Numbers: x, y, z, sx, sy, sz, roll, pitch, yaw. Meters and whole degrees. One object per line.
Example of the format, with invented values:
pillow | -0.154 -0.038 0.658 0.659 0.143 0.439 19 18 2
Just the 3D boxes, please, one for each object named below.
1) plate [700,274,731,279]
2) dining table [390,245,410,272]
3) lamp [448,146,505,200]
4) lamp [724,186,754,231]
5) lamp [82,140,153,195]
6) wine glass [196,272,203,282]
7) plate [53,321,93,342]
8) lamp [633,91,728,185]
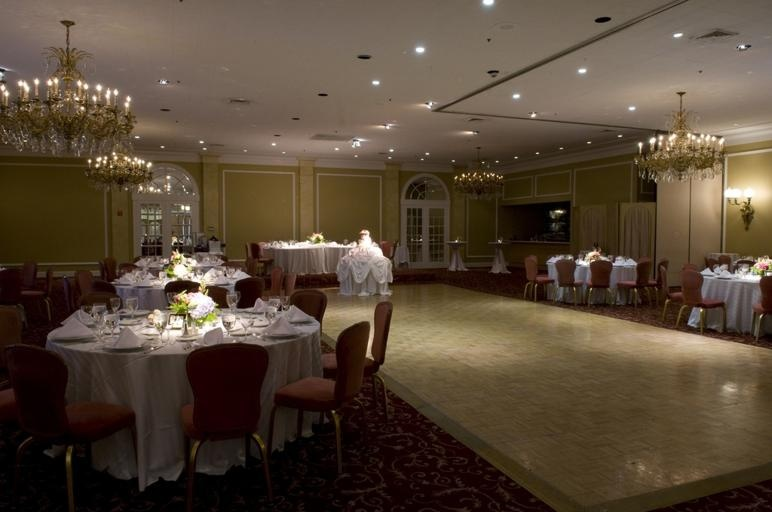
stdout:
plate | 5.856 0.356 8.920 0.422 0.072 0.429 4 9 27
dining table | 0.508 0.066 17.818 0.742 0.766 0.770 1 7 0
lamp | 2.999 -2.803 16.598 1.637 2.069 1.732 0 -6 9
lamp | 8.913 -1.150 12.577 0.534 1.033 0.580 2 4 -15
lamp | -6.633 -2.202 12.347 1.605 1.400 1.686 1 2 7
wine glass | -2.777 0.316 7.524 0.105 0.181 0.115 1 -9 -9
plate | -2.926 0.720 4.713 0.227 0.096 0.238 1 -2 0
lamp | 6.354 -2.595 10.794 1.554 1.713 1.633 1 1 3
